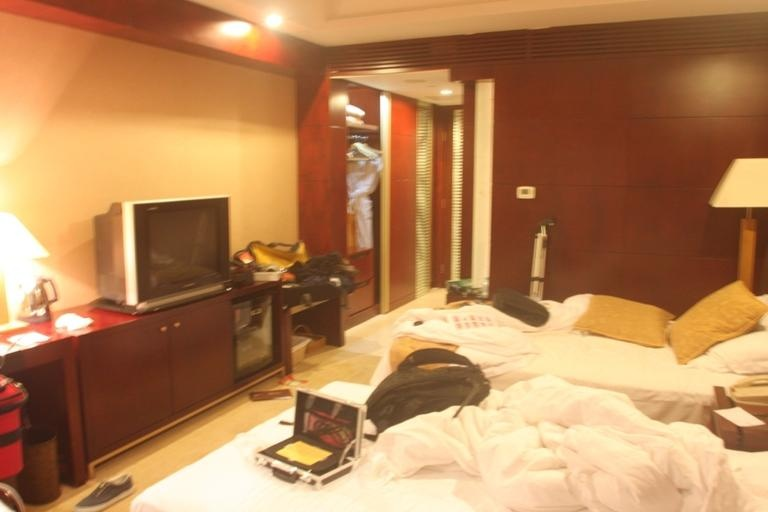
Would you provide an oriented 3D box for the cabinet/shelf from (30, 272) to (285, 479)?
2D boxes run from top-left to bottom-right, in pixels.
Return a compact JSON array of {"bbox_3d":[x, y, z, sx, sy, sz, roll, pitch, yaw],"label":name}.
[{"bbox_3d":[-1.755,0.823,4.667,0.745,0.916,2.128,5,9,21],"label":"cabinet/shelf"}]

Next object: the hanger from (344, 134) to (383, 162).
[{"bbox_3d":[-0.239,-1.251,6.582,0.418,0.170,0.535,0,9,0],"label":"hanger"}]

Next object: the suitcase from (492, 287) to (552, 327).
[{"bbox_3d":[1.070,0.407,4.453,0.413,0.152,0.241,27,61,16],"label":"suitcase"}]

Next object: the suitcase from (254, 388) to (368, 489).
[{"bbox_3d":[-0.373,0.984,2.991,0.540,0.336,0.445,8,13,31],"label":"suitcase"}]

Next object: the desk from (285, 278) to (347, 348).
[{"bbox_3d":[-0.677,0.573,5.671,0.452,0.692,0.798,1,3,19],"label":"desk"}]

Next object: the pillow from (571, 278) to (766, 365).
[{"bbox_3d":[2.114,0.484,4.156,0.926,0.297,0.753,9,19,26],"label":"pillow"}]

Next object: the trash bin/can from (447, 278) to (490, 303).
[{"bbox_3d":[0.822,0.328,5.592,0.291,0.164,0.278,0,1,-17],"label":"trash bin/can"}]

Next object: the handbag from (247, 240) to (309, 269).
[{"bbox_3d":[-1.029,-0.002,5.535,0.417,0.136,0.310,0,15,-20],"label":"handbag"}]

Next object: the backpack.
[{"bbox_3d":[0.271,0.792,3.333,0.569,0.202,0.417,-19,18,-27],"label":"backpack"}]
